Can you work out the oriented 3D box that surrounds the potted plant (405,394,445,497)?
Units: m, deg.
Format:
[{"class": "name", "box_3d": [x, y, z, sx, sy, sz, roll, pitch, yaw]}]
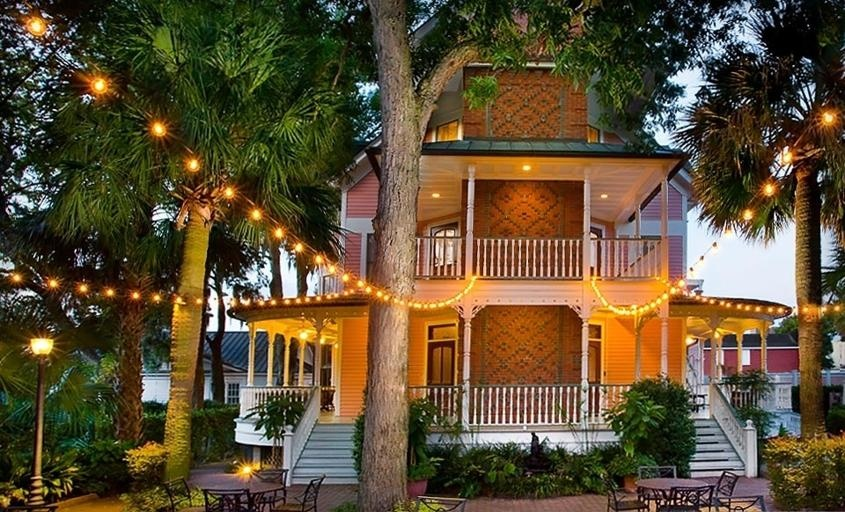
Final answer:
[{"class": "potted plant", "box_3d": [0.035, 5.353, 24.230, 0.818, 2.913, 1.904, -4, -15, 12]}]

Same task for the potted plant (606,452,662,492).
[{"class": "potted plant", "box_3d": [5.893, 6.071, 24.554, 1.245, 0.992, 1.217, 1, -16, -2]}]
